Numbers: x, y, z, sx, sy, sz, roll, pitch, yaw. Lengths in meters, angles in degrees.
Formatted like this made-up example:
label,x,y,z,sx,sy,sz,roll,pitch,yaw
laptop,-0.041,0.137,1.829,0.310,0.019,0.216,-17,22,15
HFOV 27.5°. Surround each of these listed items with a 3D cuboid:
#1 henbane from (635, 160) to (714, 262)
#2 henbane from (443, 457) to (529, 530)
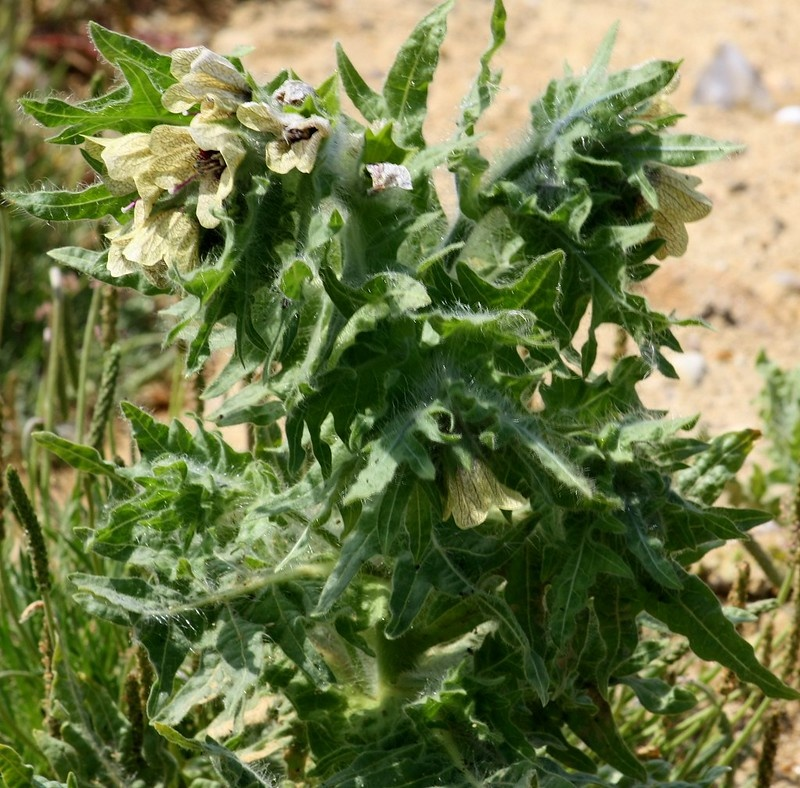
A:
label,x,y,z,sx,sy,sz,roll,pitch,yaw
henbane,0.522,-0.343,3.181,0.159,0.198,0.106,-7,31,-28
henbane,0.172,0.175,2.989,0.170,0.127,0.080,-2,29,-22
